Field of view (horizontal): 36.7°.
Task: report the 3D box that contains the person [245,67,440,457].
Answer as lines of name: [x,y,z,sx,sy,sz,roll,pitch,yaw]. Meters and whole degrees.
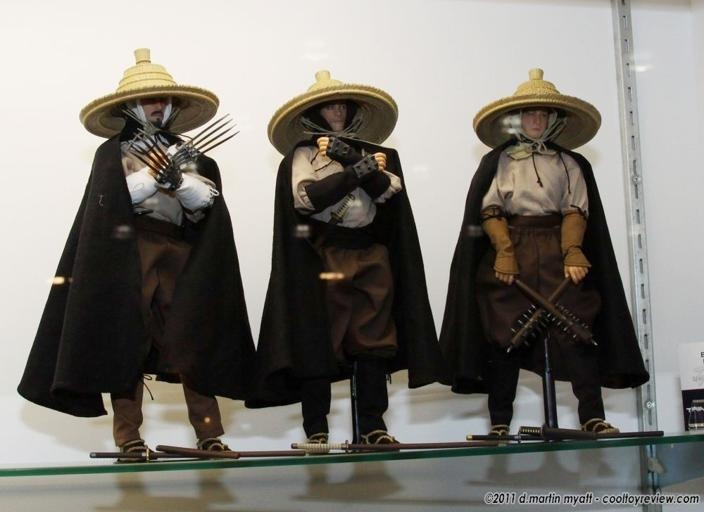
person: [-0.027,-0.007,5.040,0.884,1.796,0.489,2,-17,-5]

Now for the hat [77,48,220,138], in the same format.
hat: [-0.976,-0.799,5.043,0.675,0.278,0.655,-15,-9,32]

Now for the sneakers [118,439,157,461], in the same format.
sneakers: [-0.956,0.869,4.755,0.168,0.104,0.176,3,-15,-11]

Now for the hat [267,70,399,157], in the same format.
hat: [-0.085,-0.749,5.140,0.637,0.227,0.572,-4,-14,-22]

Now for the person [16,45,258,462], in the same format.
person: [-0.932,-0.035,4.929,1.032,1.917,0.480,5,-18,-15]

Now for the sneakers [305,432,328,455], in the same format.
sneakers: [-0.157,0.844,4.765,0.091,0.032,0.115,-1,1,0]

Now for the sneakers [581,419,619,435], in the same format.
sneakers: [1.161,0.803,4.976,0.083,0.039,0.145,4,-14,-30]

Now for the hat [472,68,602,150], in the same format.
hat: [0.944,-0.708,5.292,0.552,0.222,0.479,5,-28,-5]

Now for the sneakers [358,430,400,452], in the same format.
sneakers: [0.107,0.838,4.800,0.075,0.066,0.192,11,-17,-43]

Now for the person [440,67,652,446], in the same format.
person: [0.892,0.031,5.181,0.961,1.644,0.453,-3,-18,12]

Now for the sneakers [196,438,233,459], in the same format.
sneakers: [-0.630,0.870,4.792,0.195,0.067,0.064,-1,-5,14]
